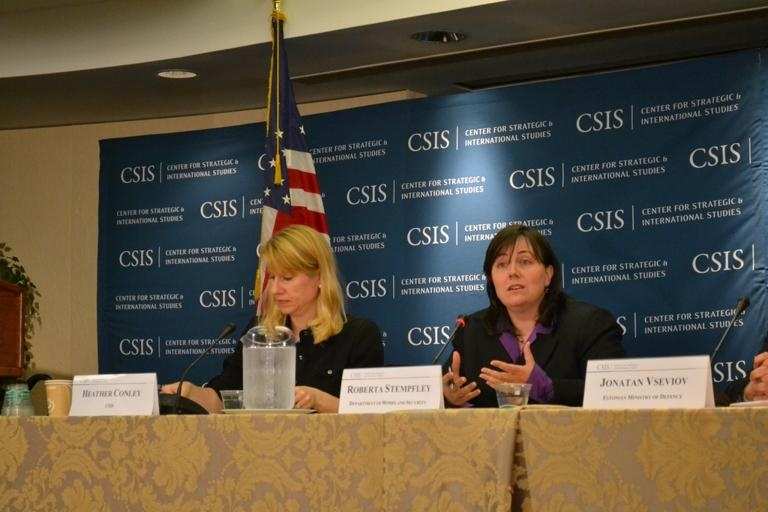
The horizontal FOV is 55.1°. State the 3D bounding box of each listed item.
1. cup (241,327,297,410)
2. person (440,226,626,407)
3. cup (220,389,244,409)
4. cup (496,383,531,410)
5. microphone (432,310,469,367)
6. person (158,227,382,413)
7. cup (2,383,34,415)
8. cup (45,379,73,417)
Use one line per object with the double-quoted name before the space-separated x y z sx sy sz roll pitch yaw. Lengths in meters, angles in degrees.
"cup" -0.385 0.395 2.515 0.180 0.293 0.164 -1 -6 0
"person" 0.621 0.232 3.171 0.785 0.840 0.823 -3 -6 17
"cup" -0.527 0.496 2.551 0.065 0.051 0.068 0 -10 0
"cup" 0.423 0.455 2.415 0.107 0.075 0.160 -3 -6 16
"microphone" 0.372 0.450 4.050 0.081 0.087 0.559 16 41 21
"person" -0.467 0.537 3.477 0.899 1.371 0.810 -1 -1 10
"cup" -1.330 0.527 2.713 0.109 0.129 0.111 -1 -13 0
"cup" -1.183 0.509 2.657 0.117 0.135 0.126 0 -9 0
